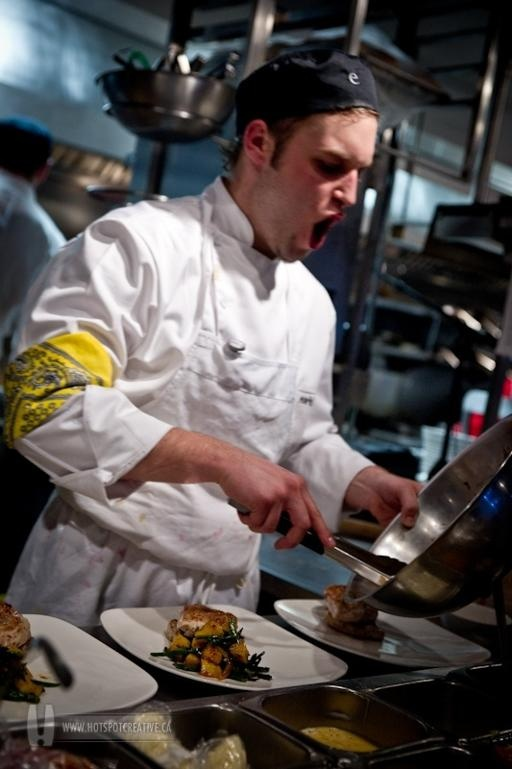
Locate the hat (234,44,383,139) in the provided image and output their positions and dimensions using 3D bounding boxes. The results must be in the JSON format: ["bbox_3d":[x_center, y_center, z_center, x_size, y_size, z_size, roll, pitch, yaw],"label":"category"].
[{"bbox_3d":[0.086,-0.502,1.146,0.249,0.141,0.161,14,13,2],"label":"hat"}]

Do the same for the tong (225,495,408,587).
[{"bbox_3d":[0.055,0.211,0.975,0.298,0.037,0.064,21,4,27],"label":"tong"}]

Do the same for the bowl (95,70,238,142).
[{"bbox_3d":[-0.193,-0.658,1.719,0.343,0.143,0.270,15,6,39],"label":"bowl"}]
